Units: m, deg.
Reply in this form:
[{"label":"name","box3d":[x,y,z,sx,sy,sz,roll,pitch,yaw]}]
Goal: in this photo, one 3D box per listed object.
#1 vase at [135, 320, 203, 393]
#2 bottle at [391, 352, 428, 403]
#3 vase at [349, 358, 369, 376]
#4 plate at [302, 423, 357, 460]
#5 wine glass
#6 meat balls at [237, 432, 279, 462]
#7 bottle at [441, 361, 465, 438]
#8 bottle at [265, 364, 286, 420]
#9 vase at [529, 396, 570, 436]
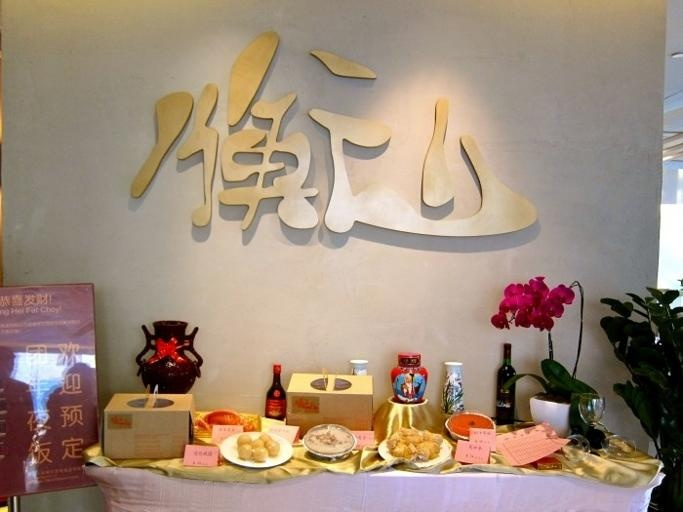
[{"label":"vase","box3d":[-0.927,0.539,3.109,0.351,0.385,0.459,3,-4,-14]},{"label":"bottle","box3d":[0.357,0.652,3.094,0.210,0.300,0.226,0,-10,0]},{"label":"vase","box3d":[0.097,0.616,3.221,0.105,0.083,0.177,2,-4,3]},{"label":"plate","box3d":[-0.069,0.899,2.833,0.155,0.042,0.161,-2,13,-28]},{"label":"wine glass","box3d":[1.314,0.836,2.934,0.336,0.306,0.236,3,-4,-20]},{"label":"meat balls","box3d":[-0.415,0.912,2.788,0.126,0.057,0.130,6,5,-1]},{"label":"bottle","box3d":[0.610,0.744,3.155,0.122,0.324,0.363,1,-4,11]},{"label":"bottle","box3d":[-0.363,0.738,3.180,0.105,0.301,0.070,2,-3,-8]},{"label":"vase","box3d":[1.096,0.807,3.058,0.184,0.257,0.162,-1,-4,23]}]
